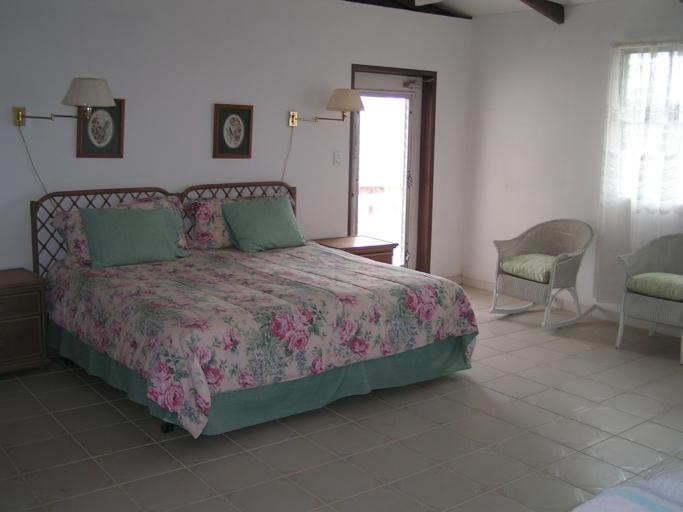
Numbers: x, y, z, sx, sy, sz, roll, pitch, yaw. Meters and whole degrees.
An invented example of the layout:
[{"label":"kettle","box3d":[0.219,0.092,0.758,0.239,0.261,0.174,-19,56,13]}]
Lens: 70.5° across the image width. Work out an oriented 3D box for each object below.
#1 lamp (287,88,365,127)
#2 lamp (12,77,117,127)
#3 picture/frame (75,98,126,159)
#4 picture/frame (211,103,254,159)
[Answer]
[{"label":"lamp","box3d":[-0.209,-1.619,5.404,0.871,0.418,0.394,4,8,36]},{"label":"lamp","box3d":[-2.362,-1.287,4.134,0.825,0.371,0.374,-2,8,-4]},{"label":"picture/frame","box3d":[-2.184,-1.165,4.345,0.529,0.694,0.046,-3,9,-36]},{"label":"picture/frame","box3d":[-1.143,-1.312,4.991,0.548,0.759,0.050,-3,7,-37]}]
